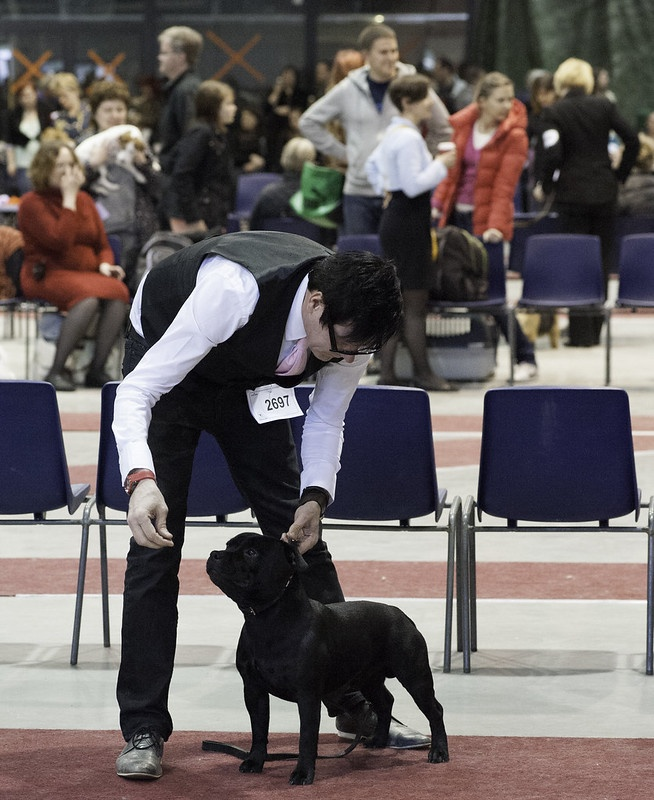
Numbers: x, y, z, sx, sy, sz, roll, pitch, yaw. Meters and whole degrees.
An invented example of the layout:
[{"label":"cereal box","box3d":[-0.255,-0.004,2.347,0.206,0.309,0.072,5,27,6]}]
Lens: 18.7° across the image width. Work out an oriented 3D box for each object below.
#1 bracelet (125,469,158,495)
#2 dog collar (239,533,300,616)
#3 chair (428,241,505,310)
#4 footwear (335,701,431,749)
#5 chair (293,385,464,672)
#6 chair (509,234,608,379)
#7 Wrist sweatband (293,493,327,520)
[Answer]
[{"label":"bracelet","box3d":[-0.501,0.235,5.387,0.075,0.034,0.066,-36,8,-21]},{"label":"dog collar","box3d":[-0.133,0.479,5.413,0.048,0.194,0.148,25,9,-39]},{"label":"chair","box3d":[0.839,-0.696,11.615,0.444,0.437,0.408,1,10,4]},{"label":"footwear","box3d":[0.130,0.963,5.855,0.335,0.145,0.112,-2,-1,13]},{"label":"chair","box3d":[0.196,0.449,6.933,0.651,0.952,0.671,0,0,25]},{"label":"chair","box3d":[1.439,-0.535,11.904,0.563,0.887,0.474,1,11,6]},{"label":"Wrist sweatband","box3d":[-0.042,0.298,5.762,0.062,0.054,0.081,20,-23,10]}]
